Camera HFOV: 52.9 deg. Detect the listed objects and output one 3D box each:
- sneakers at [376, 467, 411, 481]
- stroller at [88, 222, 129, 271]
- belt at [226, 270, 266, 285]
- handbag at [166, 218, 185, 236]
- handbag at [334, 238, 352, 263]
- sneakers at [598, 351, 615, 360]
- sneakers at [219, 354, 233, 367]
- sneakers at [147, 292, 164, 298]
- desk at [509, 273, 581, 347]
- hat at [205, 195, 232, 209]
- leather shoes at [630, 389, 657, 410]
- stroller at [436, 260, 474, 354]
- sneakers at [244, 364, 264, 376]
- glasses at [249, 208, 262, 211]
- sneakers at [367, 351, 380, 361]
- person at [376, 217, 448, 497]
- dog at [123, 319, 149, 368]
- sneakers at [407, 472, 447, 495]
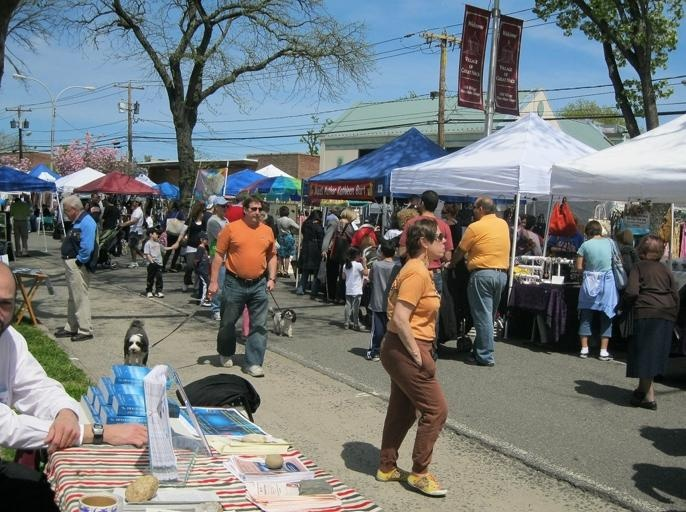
[{"bbox_3d":[0.467,2.030,6.434,0.314,0.141,0.116,0,3,-10],"label":"sneakers"},{"bbox_3d":[-5.768,-0.226,17.104,0.655,1.053,1.491,17,20,-4],"label":"stroller"},{"bbox_3d":[-1.236,0.282,8.899,0.519,0.191,0.211,0,9,-16],"label":"belt"},{"bbox_3d":[-4.180,-0.733,17.308,0.505,0.506,0.202,4,-1,-13],"label":"handbag"},{"bbox_3d":[0.008,-0.112,14.146,0.395,0.562,0.227,4,24,-1],"label":"handbag"},{"bbox_3d":[3.997,1.500,10.448,0.237,0.113,0.099,-1,4,-36],"label":"sneakers"},{"bbox_3d":[-1.549,1.386,9.242,0.197,0.190,0.318,1,9,-9],"label":"sneakers"},{"bbox_3d":[-3.862,0.812,14.328,0.134,0.157,0.357,4,-6,-44],"label":"sneakers"},{"bbox_3d":[3.077,0.750,11.219,0.941,0.655,0.956,11,14,32],"label":"desk"},{"bbox_3d":[-2.180,-0.945,11.877,0.323,0.185,0.486,-4,3,-41],"label":"hat"},{"bbox_3d":[3.620,1.753,8.359,0.149,0.156,0.345,-3,16,-25],"label":"leather shoes"},{"bbox_3d":[1.585,0.738,10.271,0.477,1.338,0.712,-2,-1,-32],"label":"stroller"},{"bbox_3d":[-1.120,1.478,8.878,0.102,0.103,0.246,0,-2,-39],"label":"sneakers"},{"bbox_3d":[-1.124,-0.591,8.816,0.144,0.051,0.060,1,9,-10],"label":"glasses"},{"bbox_3d":[0.424,1.441,9.983,0.133,0.183,0.260,3,-9,-23],"label":"sneakers"},{"bbox_3d":[0.671,1.086,6.230,0.684,2.067,0.428,5,9,17],"label":"person"},{"bbox_3d":[-2.442,1.044,8.191,0.263,0.478,0.855,4,7,-16],"label":"dog"},{"bbox_3d":[0.744,2.039,6.226,0.371,0.177,0.162,11,5,8],"label":"sneakers"}]
